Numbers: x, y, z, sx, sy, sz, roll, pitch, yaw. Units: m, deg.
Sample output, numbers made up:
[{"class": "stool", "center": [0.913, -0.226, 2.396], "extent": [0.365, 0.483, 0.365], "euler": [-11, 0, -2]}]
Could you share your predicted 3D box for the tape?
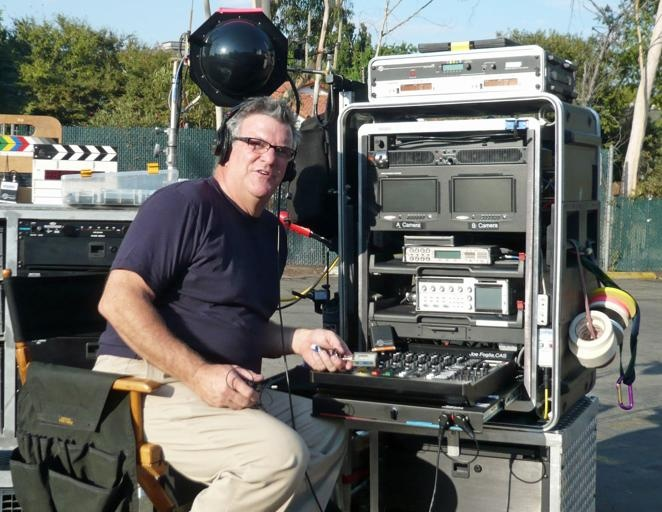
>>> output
[{"class": "tape", "center": [1.461, 0.427, 4.760], "extent": [0.274, 0.348, 0.327], "euler": [2, 0, 30]}]

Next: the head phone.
[{"class": "head phone", "center": [-0.318, -0.556, 4.283], "extent": [0.428, 0.431, 0.180], "euler": [16, -13, -2]}]
